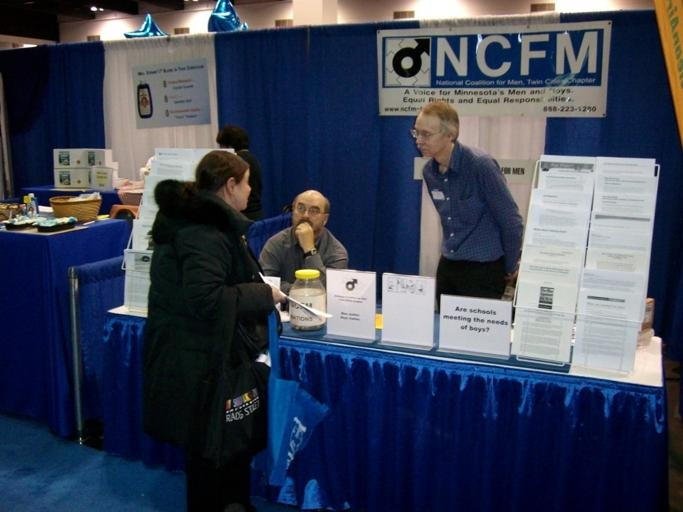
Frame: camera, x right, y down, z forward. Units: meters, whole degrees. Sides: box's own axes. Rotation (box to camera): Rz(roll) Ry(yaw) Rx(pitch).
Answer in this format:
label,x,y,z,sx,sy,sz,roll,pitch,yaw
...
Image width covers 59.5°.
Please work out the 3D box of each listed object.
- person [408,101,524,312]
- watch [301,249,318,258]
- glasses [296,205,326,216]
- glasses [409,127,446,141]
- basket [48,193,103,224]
label,x,y,z,sx,sy,sz,roll,pitch,yaw
person,0.650,-0.273,3.110,0.560,0.990,0.283,1,7,6
watch,-0.171,-0.012,3.177,0.062,0.059,0.044,-20,58,-44
glasses,-0.181,-0.259,3.311,0.152,0.056,0.052,1,8,3
glasses,0.446,-0.613,2.995,0.193,0.077,0.085,3,8,16
basket,-1.841,-0.333,4.082,0.271,0.137,0.245,2,5,5
